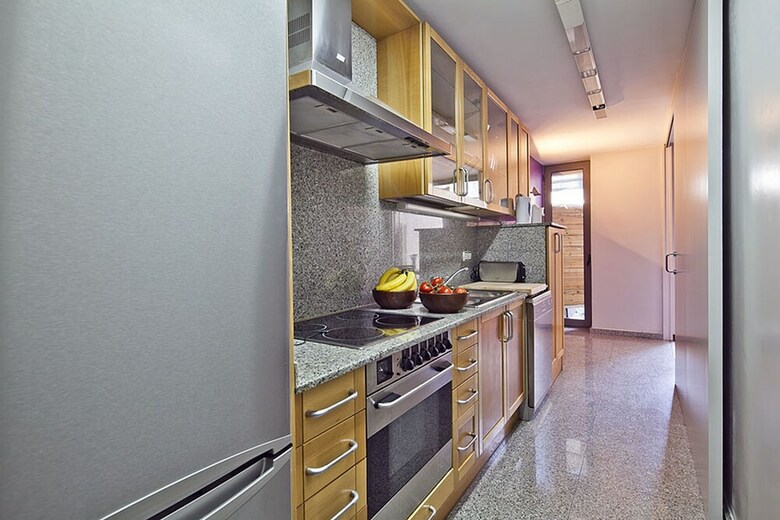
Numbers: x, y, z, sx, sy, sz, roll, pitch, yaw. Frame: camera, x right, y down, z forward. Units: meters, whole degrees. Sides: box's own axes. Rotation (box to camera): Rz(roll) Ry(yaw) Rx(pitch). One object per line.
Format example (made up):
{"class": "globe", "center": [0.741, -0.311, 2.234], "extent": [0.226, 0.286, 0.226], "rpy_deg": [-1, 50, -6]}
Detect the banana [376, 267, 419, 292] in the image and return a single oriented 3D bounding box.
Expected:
{"class": "banana", "center": [0.046, 0.114, 2.701], "extent": [0.126, 0.059, 0.169], "rpy_deg": [-1, 12, 14]}

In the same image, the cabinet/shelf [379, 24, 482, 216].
{"class": "cabinet/shelf", "center": [0.310, -0.846, 3.286], "extent": [0.353, 0.942, 1.109], "rpy_deg": [1, 0, 29]}

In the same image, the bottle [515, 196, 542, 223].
{"class": "bottle", "center": [1.214, -0.420, 4.312], "extent": [0.167, 0.296, 0.316], "rpy_deg": [-3, -5, 36]}
